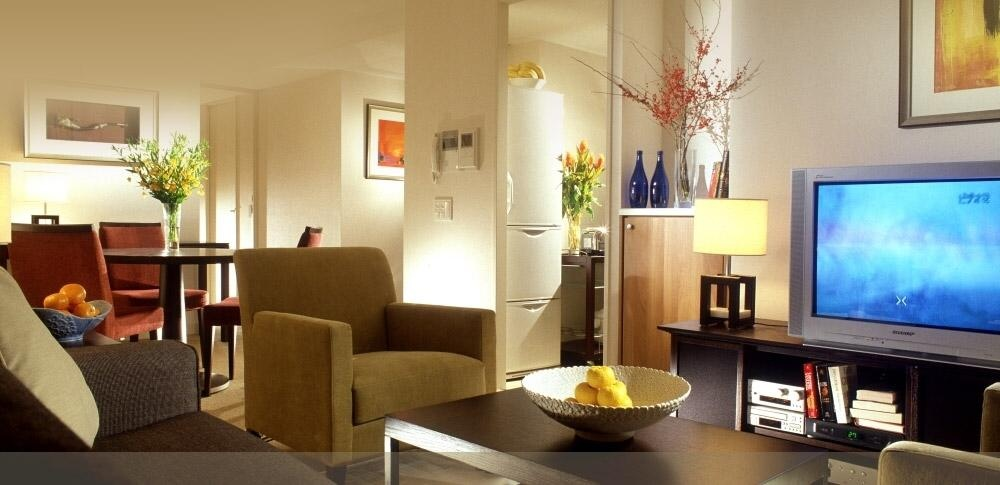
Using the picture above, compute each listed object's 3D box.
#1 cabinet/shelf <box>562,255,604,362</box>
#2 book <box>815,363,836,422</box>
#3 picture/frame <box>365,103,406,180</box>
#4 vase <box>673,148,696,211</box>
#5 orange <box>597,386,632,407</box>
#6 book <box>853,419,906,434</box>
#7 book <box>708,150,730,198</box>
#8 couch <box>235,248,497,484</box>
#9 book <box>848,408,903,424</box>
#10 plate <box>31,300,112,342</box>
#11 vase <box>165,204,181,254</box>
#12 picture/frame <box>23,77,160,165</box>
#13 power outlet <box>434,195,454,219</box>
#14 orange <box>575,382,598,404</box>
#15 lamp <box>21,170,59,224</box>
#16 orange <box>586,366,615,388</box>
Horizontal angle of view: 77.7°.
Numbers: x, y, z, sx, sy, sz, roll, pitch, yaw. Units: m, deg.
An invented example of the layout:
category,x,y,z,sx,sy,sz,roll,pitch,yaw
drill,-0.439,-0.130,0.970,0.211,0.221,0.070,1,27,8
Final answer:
category,x,y,z,sx,sy,sz,roll,pitch,yaw
cabinet/shelf,0.875,0.704,6.612,0.440,1.170,0.585,0,5,6
book,2.174,1.013,4.159,0.086,0.283,0.319,-4,7,20
picture/frame,-1.398,-1.231,7.559,0.484,0.940,0.084,-4,7,-40
vase,1.493,-0.525,5.032,0.147,0.479,0.222,1,5,14
orange,0.610,0.840,3.345,0.162,0.097,0.110,17,-28,-1
book,2.467,1.194,4.024,0.146,0.024,0.150,-1,-3,44
book,1.679,-0.523,4.761,0.152,0.361,0.317,2,5,17
couch,-0.952,0.794,5.038,1.804,1.547,1.813,1,-3,-43
book,2.451,1.125,4.034,0.164,0.030,0.156,2,-2,-43
plate,-2.527,0.490,3.705,0.399,0.131,0.328,1,2,-40
vase,-3.037,-0.150,5.811,0.119,0.413,0.304,-3,5,-28
picture/frame,-4.255,-1.247,6.421,1.403,0.714,0.055,-1,6,-25
power outlet,-0.517,-0.339,5.972,0.292,0.231,0.040,0,-3,33
orange,0.474,0.831,3.428,0.130,0.094,0.112,-9,17,1
lamp,-4.613,-0.460,6.296,0.284,0.522,0.284,-3,6,-33
orange,0.551,0.735,3.421,0.153,0.084,0.127,2,-3,-18
